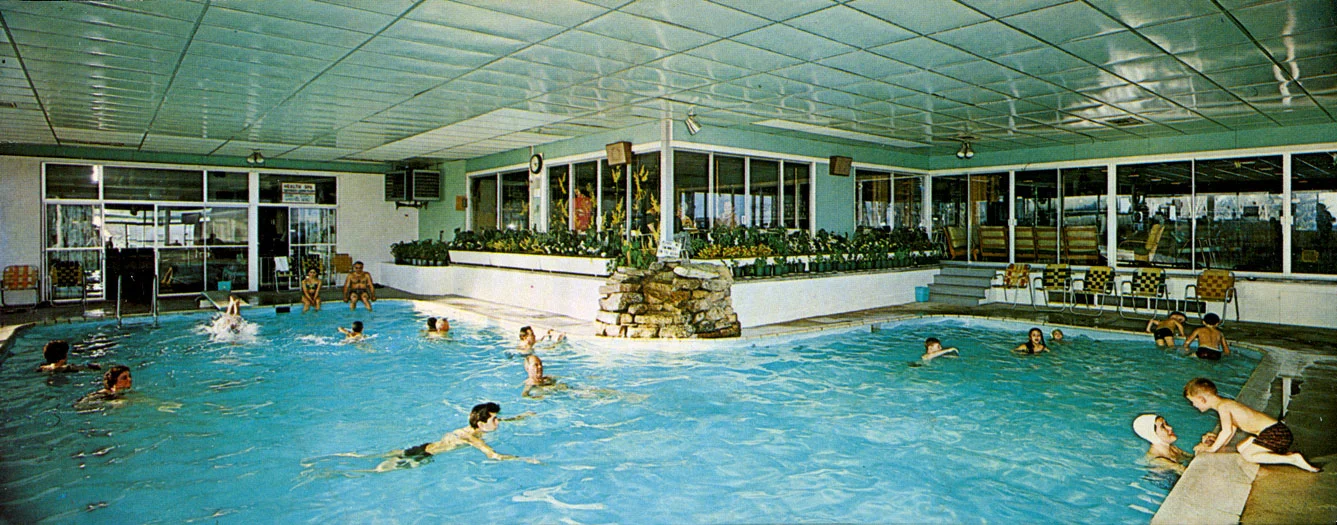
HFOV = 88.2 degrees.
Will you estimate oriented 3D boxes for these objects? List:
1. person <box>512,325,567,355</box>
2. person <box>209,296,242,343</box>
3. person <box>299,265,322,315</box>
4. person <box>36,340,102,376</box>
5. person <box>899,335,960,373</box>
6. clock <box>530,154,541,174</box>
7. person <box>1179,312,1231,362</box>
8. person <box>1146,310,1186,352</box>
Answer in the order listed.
[{"bbox_3d":[-3.809,2.352,20.774,1.571,0.411,0.885,0,-2,1],"label":"person"},{"bbox_3d":[-14.495,1.906,22.784,0.760,1.179,0.677,11,-31,-15],"label":"person"},{"bbox_3d":[-12.678,0.991,24.639,0.649,1.362,0.531,-6,5,-26],"label":"person"},{"bbox_3d":[-16.747,2.601,19.353,1.698,0.874,0.524,-2,4,-5],"label":"person"},{"bbox_3d":[7.576,2.603,20.178,2.028,0.749,0.714,-4,4,-37],"label":"person"},{"bbox_3d":[-4.860,-3.673,25.581,0.571,0.722,0.132,0,6,35],"label":"clock"},{"bbox_3d":[15.452,2.137,20.116,0.990,1.245,1.016,0,5,39],"label":"person"},{"bbox_3d":[14.922,2.079,20.969,0.919,1.533,0.570,10,49,27],"label":"person"}]
